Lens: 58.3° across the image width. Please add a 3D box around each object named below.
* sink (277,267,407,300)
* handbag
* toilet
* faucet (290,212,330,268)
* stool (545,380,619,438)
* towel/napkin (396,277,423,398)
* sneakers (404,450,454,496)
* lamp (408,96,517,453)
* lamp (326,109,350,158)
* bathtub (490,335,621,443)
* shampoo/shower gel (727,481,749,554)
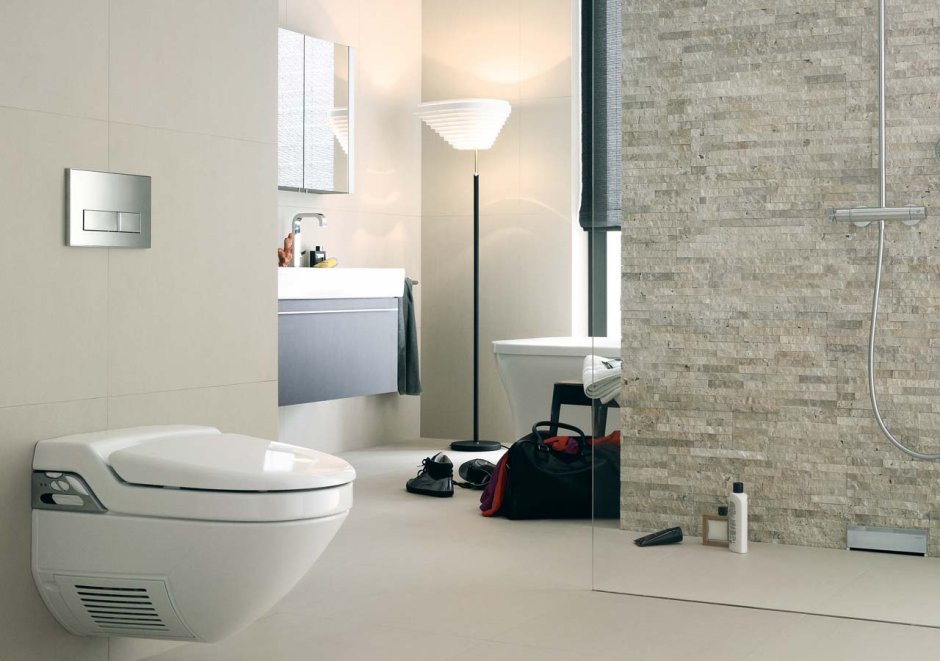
[{"bbox_3d":[-0.695,-0.246,4.633,0.224,0.200,1.041,2,6,22],"label":"sink"},{"bbox_3d":[0.458,0.643,3.908,0.734,0.423,0.378,2,7,-6],"label":"handbag"},{"bbox_3d":[-0.742,0.482,2.398,0.677,0.526,0.584,2,-1,11],"label":"toilet"},{"bbox_3d":[-0.900,-0.504,4.736,0.212,0.299,0.492,-2,6,-10],"label":"faucet"},{"bbox_3d":[0.442,0.337,3.470,0.217,0.295,0.207,2,6,23],"label":"stool"},{"bbox_3d":[-0.366,0.053,5.214,0.112,0.707,0.239,1,6,11],"label":"towel/napkin"},{"bbox_3d":[-0.206,0.740,4.282,0.332,0.194,0.142,-2,-7,44],"label":"sneakers"},{"bbox_3d":[0.006,-0.371,5.383,0.525,2.219,0.532,3,7,32],"label":"lamp"},{"bbox_3d":[-0.753,-1.180,4.922,0.069,0.296,0.200,-1,11,23],"label":"lamp"},{"bbox_3d":[0.375,0.254,4.413,0.505,0.485,0.643,0,1,19],"label":"bathtub"},{"bbox_3d":[0.974,0.681,3.065,0.076,0.255,0.054,1,6,18],"label":"shampoo/shower gel"}]
